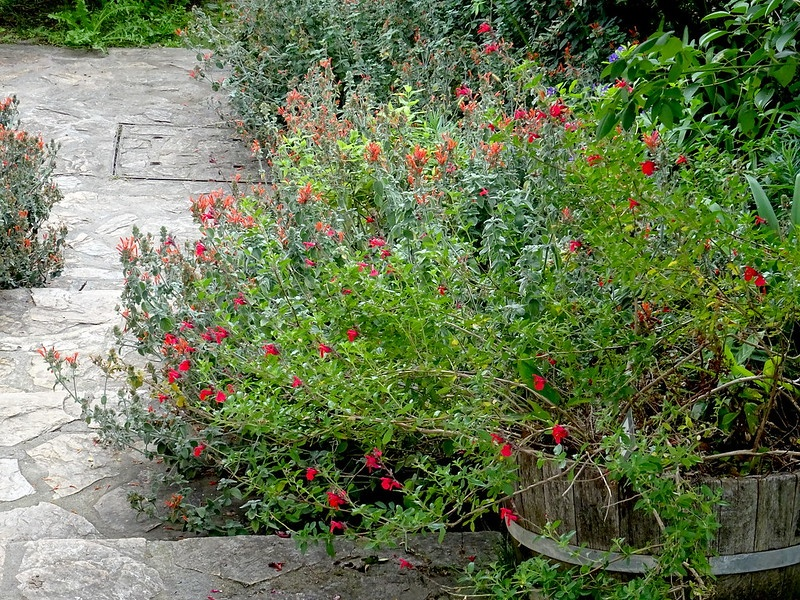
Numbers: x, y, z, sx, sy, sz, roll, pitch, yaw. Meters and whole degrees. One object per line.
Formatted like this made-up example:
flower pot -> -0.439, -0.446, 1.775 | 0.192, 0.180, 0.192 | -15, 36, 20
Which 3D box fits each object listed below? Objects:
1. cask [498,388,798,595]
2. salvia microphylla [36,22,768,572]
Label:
cask -> 0.727, 0.695, 2.855 | 1.241, 0.523, 1.091 | -6, 11, -10
salvia microphylla -> 0.002, -0.049, 3.082 | 2.174, 2.038, 2.813 | -6, 21, -25
